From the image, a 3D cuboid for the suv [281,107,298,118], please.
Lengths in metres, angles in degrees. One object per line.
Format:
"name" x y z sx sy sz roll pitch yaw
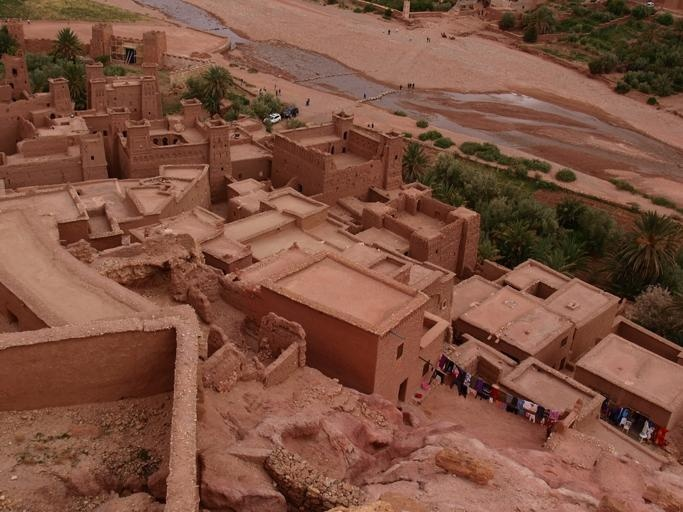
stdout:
"suv" -6.090 -16.915 64.339 1.217 0.876 2.646 22 31 22
